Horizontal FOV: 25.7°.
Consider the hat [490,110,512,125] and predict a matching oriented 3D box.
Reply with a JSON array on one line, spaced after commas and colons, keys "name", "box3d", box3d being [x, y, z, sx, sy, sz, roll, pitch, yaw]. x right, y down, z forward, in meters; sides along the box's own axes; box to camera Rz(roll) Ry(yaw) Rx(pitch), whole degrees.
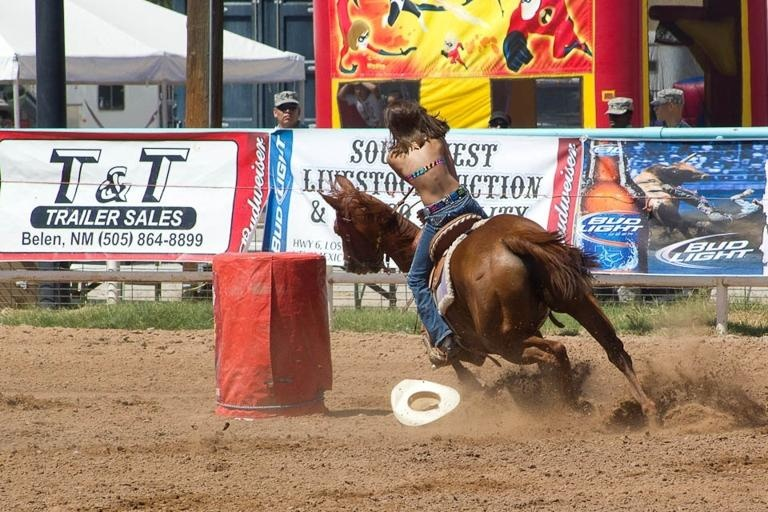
[{"name": "hat", "box3d": [1.960, -2.312, 27.973, 0.274, 0.183, 0.428, 3, -13, 6]}]

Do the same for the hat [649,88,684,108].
[{"name": "hat", "box3d": [4.661, -2.617, 27.624, 0.446, 0.251, 0.336, 4, 9, 20]}]

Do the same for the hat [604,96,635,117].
[{"name": "hat", "box3d": [3.816, -2.397, 26.852, 0.339, 0.181, 0.269, -1, 1, -28]}]

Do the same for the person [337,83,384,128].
[{"name": "person", "box3d": [-0.319, -2.578, 28.715, 0.691, 0.803, 0.204, 4, 16, 27]}]
